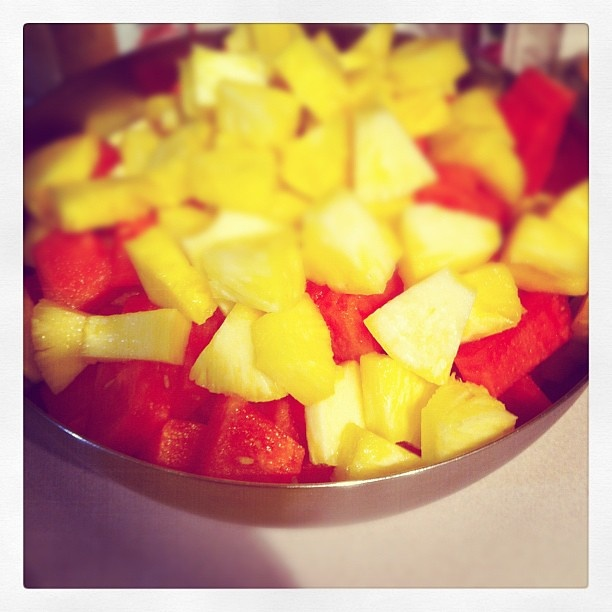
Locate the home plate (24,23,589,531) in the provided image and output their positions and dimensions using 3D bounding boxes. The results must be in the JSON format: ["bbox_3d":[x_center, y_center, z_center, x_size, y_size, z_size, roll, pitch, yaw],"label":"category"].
[{"bbox_3d":[-0.085,0.068,0.751,0.651,0.676,0.216,8,80,55],"label":"home plate"}]
